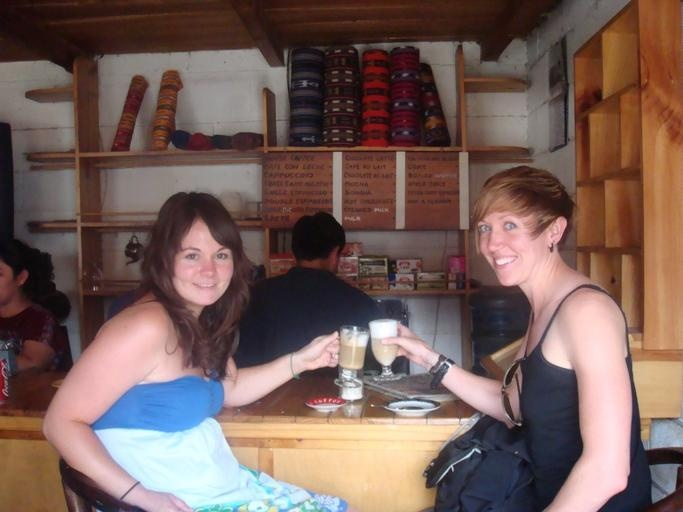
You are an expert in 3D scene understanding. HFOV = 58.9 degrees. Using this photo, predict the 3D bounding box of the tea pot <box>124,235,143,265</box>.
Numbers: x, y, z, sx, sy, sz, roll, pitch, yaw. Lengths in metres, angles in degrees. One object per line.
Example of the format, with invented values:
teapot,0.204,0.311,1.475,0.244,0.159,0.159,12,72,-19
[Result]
tea pot,-1.451,-0.049,4.229,0.158,0.077,0.209,4,84,3

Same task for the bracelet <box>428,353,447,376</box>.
bracelet,0.365,0.418,2.392,0.087,0.081,0.053,-44,90,9
